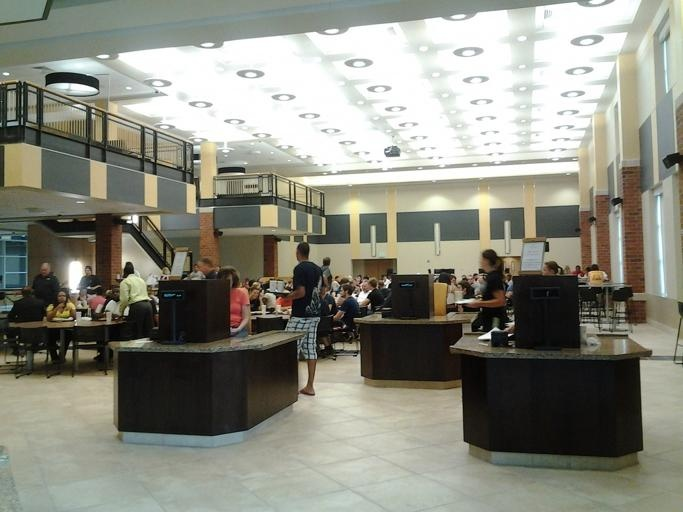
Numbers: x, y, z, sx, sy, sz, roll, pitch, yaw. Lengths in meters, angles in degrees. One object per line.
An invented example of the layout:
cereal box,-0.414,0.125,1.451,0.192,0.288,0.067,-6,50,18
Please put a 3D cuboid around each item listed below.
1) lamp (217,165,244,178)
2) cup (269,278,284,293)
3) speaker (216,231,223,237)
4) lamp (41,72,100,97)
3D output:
lamp,-5.282,-4.046,27.183,1.313,0.382,0.612,-1,2,22
cup,-1.470,0.680,13.267,0.343,0.238,0.326,1,3,0
speaker,-4.839,-0.894,22.636,0.230,0.197,0.054,-1,26,-40
lamp,-7.260,-4.633,15.504,0.852,0.183,0.807,0,-7,2
